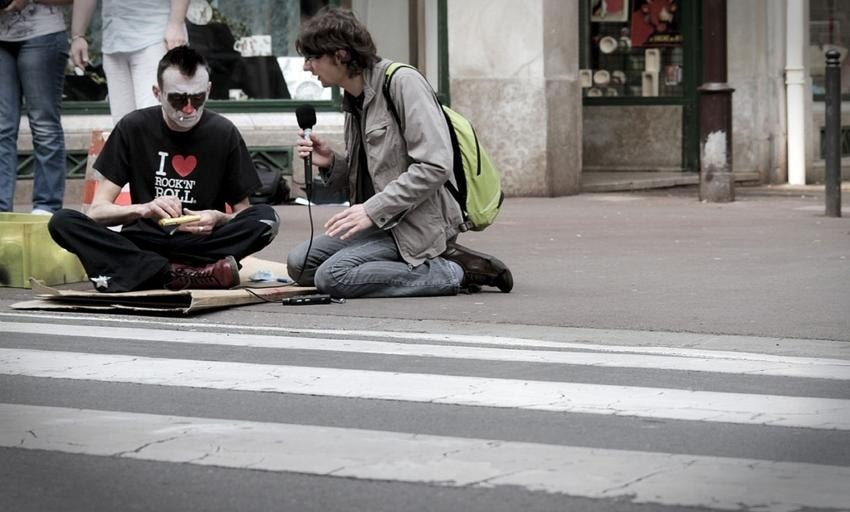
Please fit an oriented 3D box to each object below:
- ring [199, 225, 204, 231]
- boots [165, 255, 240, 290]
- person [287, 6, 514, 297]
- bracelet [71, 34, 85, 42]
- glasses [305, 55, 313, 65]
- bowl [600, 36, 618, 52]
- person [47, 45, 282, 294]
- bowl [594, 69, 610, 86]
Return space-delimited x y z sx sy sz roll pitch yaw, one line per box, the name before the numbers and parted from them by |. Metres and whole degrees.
ring | -1.493 -0.182 7.621 0.026 0.043 0.057 -1 8 9
boots | -1.573 0.106 7.697 0.592 0.165 0.232 -5 -5 11
person | -0.192 -0.671 7.718 1.466 1.965 0.608 -3 8 -3
bracelet | -3.011 -1.869 9.896 0.106 0.058 0.252 -4 8 -17
glasses | -0.770 -1.299 7.597 0.052 0.060 0.065 8 9 26
bowl | 2.827 -3.247 17.590 0.292 0.237 0.104 -13 6 19
person | -1.771 -0.575 7.731 1.511 1.414 1.172 -7 18 -31
bowl | 2.754 -2.750 17.689 0.231 0.225 0.108 -3 7 17
